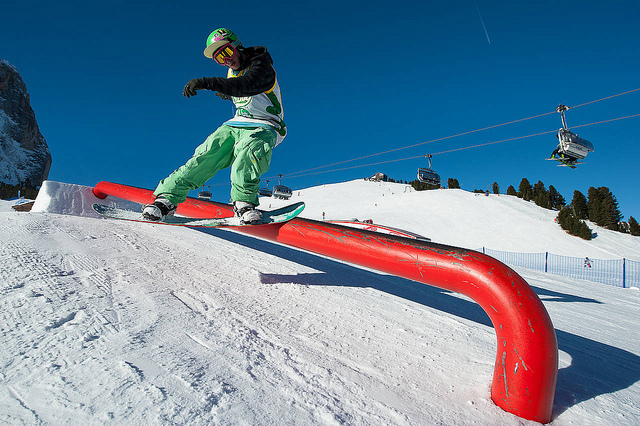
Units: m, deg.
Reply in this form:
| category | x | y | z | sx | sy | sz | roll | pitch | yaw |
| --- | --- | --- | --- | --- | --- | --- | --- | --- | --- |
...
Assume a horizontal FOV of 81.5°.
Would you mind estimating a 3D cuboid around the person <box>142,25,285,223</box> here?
| category | x | y | z | sx | sy | sz | roll | pitch | yaw |
| --- | --- | --- | --- | --- | --- | --- | --- | --- | --- |
| person | -0.984 | -0.806 | 4.107 | 1.568 | 1.701 | 0.958 | -21 | -34 | 28 |

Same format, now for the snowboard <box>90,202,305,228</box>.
| category | x | y | z | sx | sy | sz | roll | pitch | yaw |
| --- | --- | --- | --- | --- | --- | --- | --- | --- | --- |
| snowboard | -1.606 | 0.032 | 4.663 | 2.813 | 0.308 | 0.310 | -2 | -32 | 9 |

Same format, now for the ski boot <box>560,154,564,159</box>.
| category | x | y | z | sx | sy | sz | roll | pitch | yaw |
| --- | --- | --- | --- | --- | --- | --- | --- | --- | --- |
| ski boot | 7.748 | -1.835 | 11.985 | 0.075 | 0.247 | 0.066 | -1 | -18 | 21 |

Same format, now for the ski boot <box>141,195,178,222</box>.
| category | x | y | z | sx | sy | sz | roll | pitch | yaw |
| --- | --- | --- | --- | --- | --- | --- | --- | --- | --- |
| ski boot | -1.887 | -0.049 | 4.417 | 0.202 | 0.254 | 0.537 | -10 | 1 | 11 |

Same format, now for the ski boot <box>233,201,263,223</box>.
| category | x | y | z | sx | sy | sz | roll | pitch | yaw |
| --- | --- | --- | --- | --- | --- | --- | --- | --- | --- |
| ski boot | -0.806 | -0.019 | 4.158 | 0.205 | 0.156 | 0.394 | 7 | 3 | -39 |
